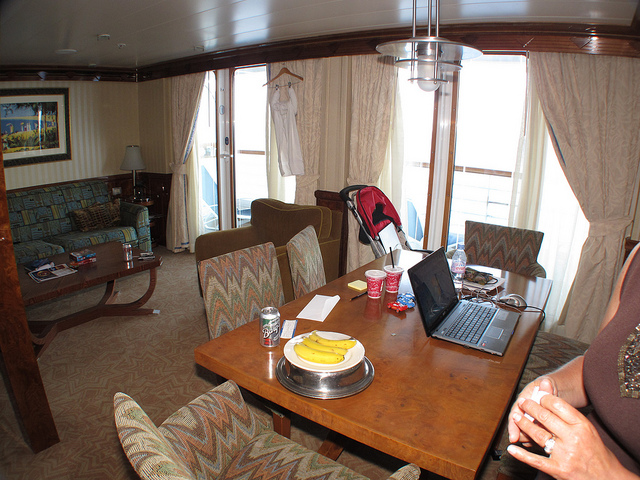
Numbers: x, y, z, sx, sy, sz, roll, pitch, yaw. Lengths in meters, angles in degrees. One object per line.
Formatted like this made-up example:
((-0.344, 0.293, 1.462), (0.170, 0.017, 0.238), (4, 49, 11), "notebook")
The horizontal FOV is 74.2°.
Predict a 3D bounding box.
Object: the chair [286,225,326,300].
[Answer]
((-0.097, 0.157, 2.890), (0.201, 0.395, 0.552), (0, 15, 9), "chair")

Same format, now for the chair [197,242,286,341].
((-0.449, 0.274, 2.500), (0.191, 0.400, 0.592), (10, 19, 40), "chair")

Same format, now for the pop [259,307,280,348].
((-0.241, 0.424, 2.017), (0.108, 0.211, 0.115), (2, 21, 9), "pop")

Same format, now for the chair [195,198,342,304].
((-0.476, -0.079, 4.371), (1.216, 1.272, 1.130), (-9, 15, -42), "chair")

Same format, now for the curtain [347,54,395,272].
((0.493, -0.751, 4.472), (0.543, 2.281, 0.212), (8, 18, 35), "curtain")

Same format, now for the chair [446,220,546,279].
((1.472, 0.048, 3.470), (0.549, 0.752, 0.535), (10, 13, 36), "chair")

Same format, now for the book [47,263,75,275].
((-2.347, 0.267, 3.818), (0.253, 0.029, 0.208), (-2, 14, 10), "book")

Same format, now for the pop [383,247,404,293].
((0.453, 0.180, 2.614), (0.157, 0.272, 0.167), (5, 3, 14), "pop")

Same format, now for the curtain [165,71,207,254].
((-2.042, -1.069, 6.112), (0.632, 2.609, 0.275), (0, -4, 9), "curtain")

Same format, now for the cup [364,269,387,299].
((0.336, 0.262, 2.564), (0.132, 0.148, 0.146), (2, 14, 11), "cup")

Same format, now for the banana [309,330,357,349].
((0.058, 0.457, 1.885), (0.197, 0.045, 0.077), (1, 39, 15), "banana")

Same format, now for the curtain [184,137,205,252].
((-1.907, -0.726, 6.155), (0.223, 1.618, 0.299), (-7, 7, -34), "curtain")

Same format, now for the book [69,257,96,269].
((-2.237, 0.211, 3.992), (0.219, 0.053, 0.134), (-13, 18, -34), "book")

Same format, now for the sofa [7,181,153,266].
((-3.083, -0.226, 5.394), (1.436, 0.886, 1.163), (-14, 19, -38), "sofa")

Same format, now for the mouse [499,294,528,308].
((1.147, 0.357, 2.496), (0.108, 0.043, 0.072), (10, 18, 22), "mouse")

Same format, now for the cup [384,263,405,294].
((0.466, 0.238, 2.657), (0.149, 0.186, 0.132), (-14, 18, -42), "cup")

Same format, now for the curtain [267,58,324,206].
((-0.391, -1.431, 5.088), (0.468, 1.413, 0.115), (1, 39, -5), "curtain")

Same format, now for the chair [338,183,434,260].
((0.469, -0.059, 2.859), (0.338, 0.535, 0.712), (-18, 23, -33), "chair")

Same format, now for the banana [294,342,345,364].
((-0.008, 0.498, 1.829), (0.218, 0.051, 0.079), (3, 15, 19), "banana")
